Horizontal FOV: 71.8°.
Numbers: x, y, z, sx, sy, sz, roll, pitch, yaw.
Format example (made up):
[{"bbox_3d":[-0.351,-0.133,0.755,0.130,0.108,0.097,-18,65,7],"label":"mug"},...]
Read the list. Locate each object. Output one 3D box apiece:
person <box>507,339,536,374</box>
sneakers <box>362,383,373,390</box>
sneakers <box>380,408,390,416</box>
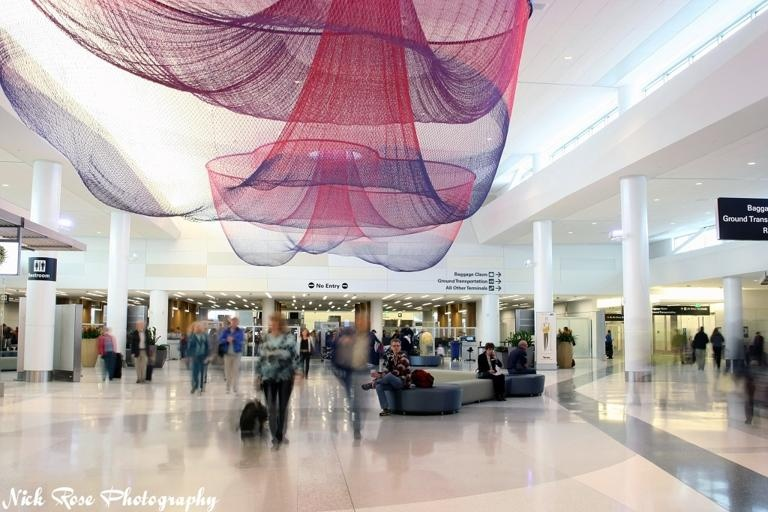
[{"bbox_3d":[4.034,3.111,15.654,0.854,1.207,0.672,2,-4,-12],"label":"person"},{"bbox_3d":[-0.425,2.971,12.009,0.140,0.173,0.406,4,-5,-13],"label":"sneakers"},{"bbox_3d":[-0.013,3.488,11.869,0.255,0.173,0.097,2,-12,7],"label":"sneakers"}]
